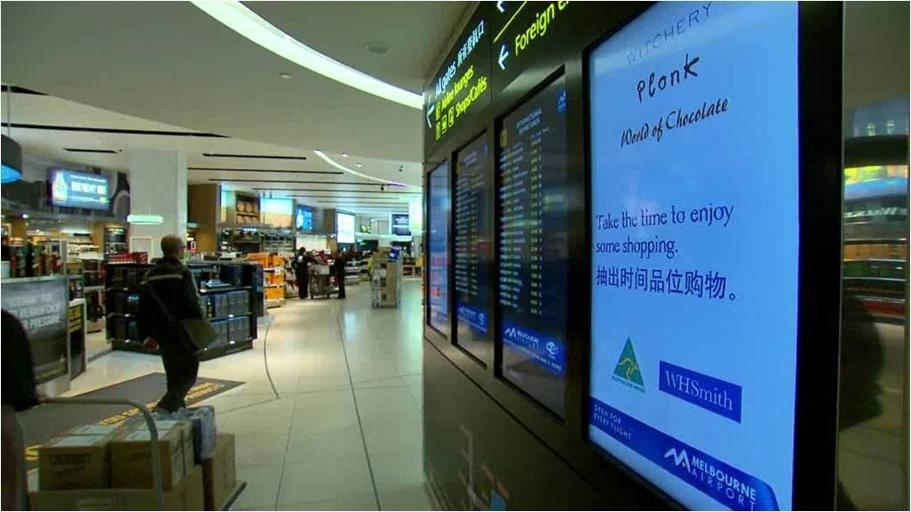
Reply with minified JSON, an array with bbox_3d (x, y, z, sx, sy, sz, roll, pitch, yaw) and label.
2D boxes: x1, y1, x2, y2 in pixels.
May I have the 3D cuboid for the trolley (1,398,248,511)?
[{"bbox_3d":[-2.711,1.746,5.025,1.482,0.868,1.404,-1,0,4],"label":"trolley"}]

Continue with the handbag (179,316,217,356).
[{"bbox_3d":[-2.633,0.829,6.222,0.290,0.384,0.160,-6,13,-31],"label":"handbag"}]

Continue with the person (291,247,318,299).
[{"bbox_3d":[-4.036,0.441,16.071,0.421,1.404,0.503,6,12,21],"label":"person"}]
